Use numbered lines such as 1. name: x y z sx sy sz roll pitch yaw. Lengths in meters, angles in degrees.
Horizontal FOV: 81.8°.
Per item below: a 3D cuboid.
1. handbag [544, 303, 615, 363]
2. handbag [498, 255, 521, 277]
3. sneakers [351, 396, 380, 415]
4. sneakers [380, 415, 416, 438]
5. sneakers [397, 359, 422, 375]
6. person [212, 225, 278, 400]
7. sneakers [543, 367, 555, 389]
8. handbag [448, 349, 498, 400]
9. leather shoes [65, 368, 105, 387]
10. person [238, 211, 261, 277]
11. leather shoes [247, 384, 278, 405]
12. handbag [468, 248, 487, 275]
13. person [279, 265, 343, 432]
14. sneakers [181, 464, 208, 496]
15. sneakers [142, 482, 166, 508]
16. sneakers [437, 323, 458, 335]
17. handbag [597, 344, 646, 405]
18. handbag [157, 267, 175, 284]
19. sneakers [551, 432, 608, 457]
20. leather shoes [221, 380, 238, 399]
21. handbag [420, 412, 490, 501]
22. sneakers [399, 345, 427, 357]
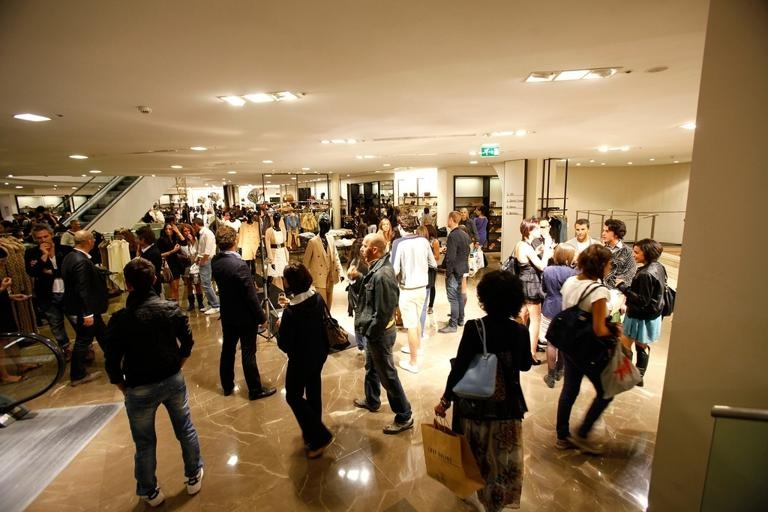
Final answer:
1. handbag: 1.860 0.746 4.336 0.566 0.567 0.423 25 2 14
2. handbag: 1.668 0.121 5.868 0.149 0.275 0.211 -7 36 -8
3. sneakers: -0.208 1.671 4.998 0.291 0.138 0.120 16 17 33
4. sneakers: 0.143 1.784 4.645 0.299 0.145 0.146 0 -2 -18
5. sneakers: 0.304 1.407 5.702 0.115 0.128 0.291 -6 10 -30
6. person: -1.678 0.669 5.120 0.642 2.033 0.422 3 9 29
7. sneakers: 1.984 1.464 5.304 0.087 0.254 0.184 -9 28 20
8. handbag: 0.725 0.944 3.539 0.367 0.512 0.175 2 -12 32
9. leather shoes: -3.791 1.542 5.604 0.121 0.161 0.371 11 21 36
10. person: -2.468 -0.231 8.135 0.423 1.313 0.244 -5 34 -23
11. leather shoes: -1.441 1.614 5.269 0.281 0.282 0.136 -16 21 -40
12. handbag: 1.664 0.087 8.042 0.293 0.391 0.905 -1 18 15
13. person: -0.831 1.036 4.559 0.541 1.957 0.551 -5 19 -14
14. sneakers: -1.798 2.093 4.200 0.108 0.131 0.308 -1 20 0
15. sneakers: -2.116 2.173 4.051 0.171 0.183 0.156 -7 10 -34
16. sneakers: 0.961 1.108 6.835 0.307 0.227 0.139 2 3 0
17. handbag: 2.138 0.983 4.035 0.413 0.559 0.285 -31 24 -15
18. handbag: -3.660 0.314 7.427 0.258 0.293 0.164 14 33 33
19. sneakers: 1.946 1.884 4.417 0.517 0.221 0.183 -4 6 11
20. leather shoes: -1.867 1.601 5.312 0.071 0.123 0.231 3 7 10
21. handbag: 0.511 1.594 3.661 0.225 0.727 0.693 -13 -7 -30
22. sneakers: 0.385 1.301 6.122 0.370 0.172 0.141 3 0 16
